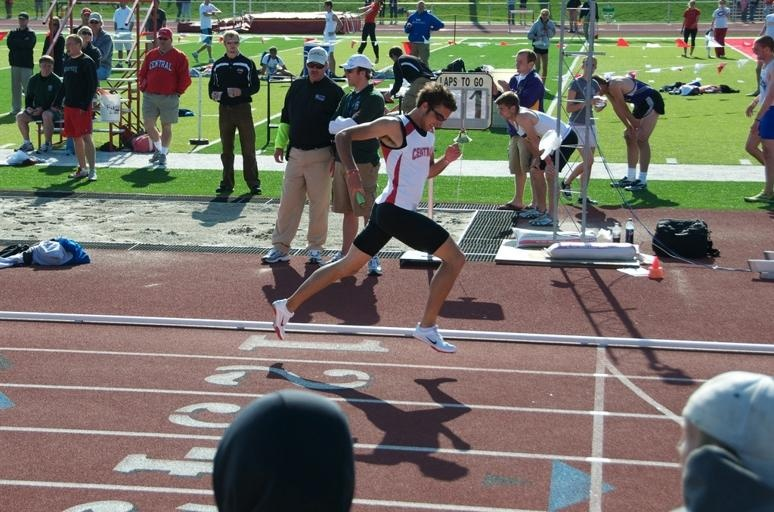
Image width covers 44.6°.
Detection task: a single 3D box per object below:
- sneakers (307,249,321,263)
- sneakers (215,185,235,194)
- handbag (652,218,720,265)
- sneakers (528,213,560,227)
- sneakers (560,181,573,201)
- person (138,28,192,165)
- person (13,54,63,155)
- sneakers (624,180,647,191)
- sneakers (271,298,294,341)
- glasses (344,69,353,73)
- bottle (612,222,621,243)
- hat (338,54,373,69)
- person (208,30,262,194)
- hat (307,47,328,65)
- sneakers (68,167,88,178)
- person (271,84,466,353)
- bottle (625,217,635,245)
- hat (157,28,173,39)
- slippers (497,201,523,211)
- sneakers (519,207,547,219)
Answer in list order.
[{"bbox_3d":[-0.883,0.002,11.475,0.087,0.164,0.250,9,18,16],"label":"sneakers"},{"bbox_3d":[-2.543,-1.068,14.857,0.264,0.157,0.116,-4,26,-12],"label":"sneakers"},{"bbox_3d":[3.661,-0.198,11.655,0.631,0.304,0.605,-2,10,-5],"label":"handbag"},{"bbox_3d":[2.137,-0.487,12.880,0.396,0.153,0.128,1,5,0],"label":"sneakers"},{"bbox_3d":[2.700,-0.989,14.299,0.144,0.320,0.143,-21,16,15],"label":"sneakers"},{"bbox_3d":[-3.963,-2.850,16.856,0.840,2.406,1.166,-4,14,-18],"label":"person"},{"bbox_3d":[-6.531,-2.869,17.774,0.827,1.798,1.166,-5,14,-20],"label":"person"},{"bbox_3d":[3.895,-1.096,14.788,0.364,0.151,0.133,0,8,-1],"label":"sneakers"},{"bbox_3d":[-1.015,0.584,9.136,0.213,0.457,0.157,5,23,4],"label":"sneakers"},{"bbox_3d":[-0.439,-2.125,10.845,0.085,0.022,0.080,-2,10,-28],"label":"glasses"},{"bbox_3d":[2.888,-0.305,11.900,0.110,0.204,0.217,3,14,13],"label":"bottle"},{"bbox_3d":[-0.355,-2.201,10.850,0.344,0.164,0.239,5,21,-5],"label":"hat"},{"bbox_3d":[-2.389,-2.275,14.876,0.771,2.503,1.058,-2,14,-10],"label":"person"},{"bbox_3d":[-0.824,-2.385,11.186,0.189,0.145,0.262,9,19,-3],"label":"hat"},{"bbox_3d":[-5.134,-1.386,15.777,0.358,0.155,0.127,8,12,25],"label":"sneakers"},{"bbox_3d":[-0.033,-0.345,8.979,1.515,2.570,0.639,1,13,3],"label":"person"},{"bbox_3d":[2.989,-0.297,11.694,0.087,0.270,0.355,2,13,10],"label":"bottle"},{"bbox_3d":[-3.813,-3.844,16.250,0.214,0.148,0.283,11,23,-9],"label":"hat"},{"bbox_3d":[1.790,-0.728,13.776,0.352,0.095,0.123,5,5,16],"label":"slippers"},{"bbox_3d":[2.027,-0.604,13.192,0.415,0.164,0.142,2,13,13],"label":"sneakers"}]
